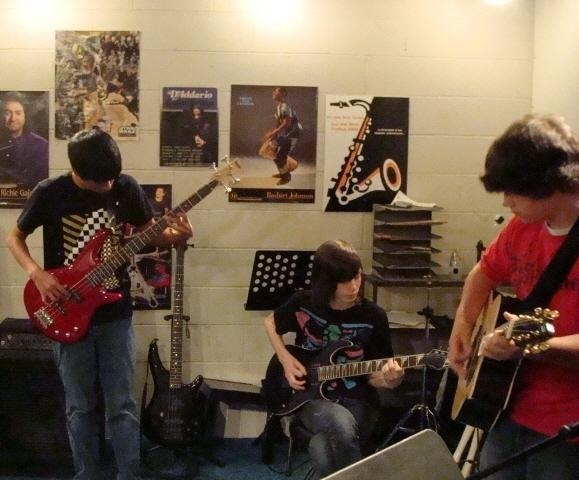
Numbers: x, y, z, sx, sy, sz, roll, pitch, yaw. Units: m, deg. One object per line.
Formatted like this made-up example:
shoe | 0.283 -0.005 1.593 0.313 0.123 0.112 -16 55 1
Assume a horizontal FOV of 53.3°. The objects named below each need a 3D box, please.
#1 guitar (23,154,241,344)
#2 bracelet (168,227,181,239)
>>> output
guitar | -0.879 0.090 2.950 0.885 0.803 0.276 -3 13 -28
bracelet | -0.613 -0.038 3.062 0.054 0.054 0.015 15 59 31
